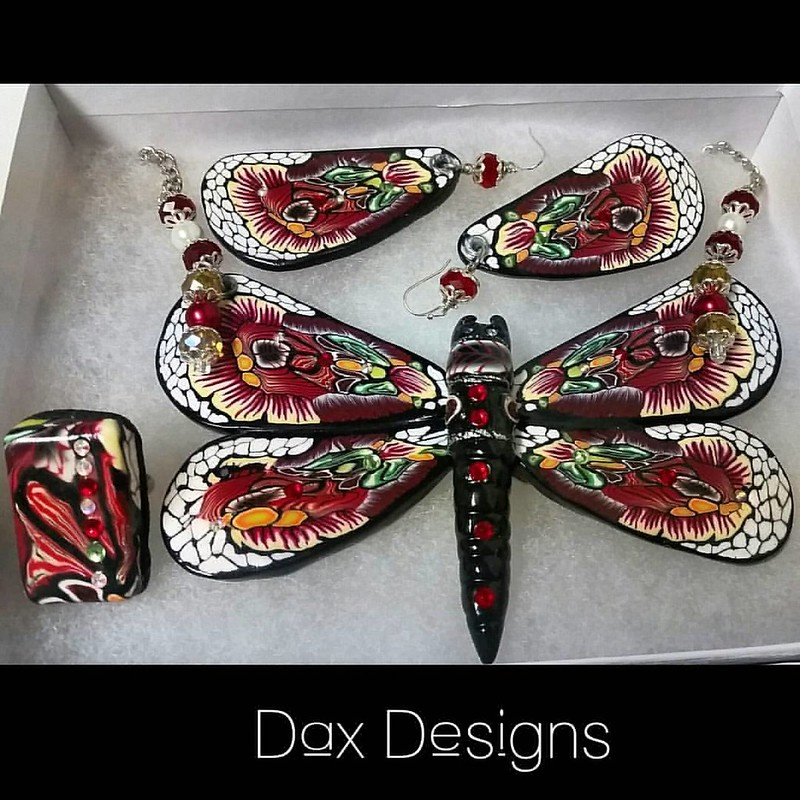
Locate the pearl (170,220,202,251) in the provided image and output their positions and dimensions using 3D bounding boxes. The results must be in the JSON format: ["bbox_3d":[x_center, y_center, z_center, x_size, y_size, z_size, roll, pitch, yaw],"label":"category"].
[{"bbox_3d":[-0.346,-0.278,1.647,0.063,0.053,0.051,-2,91,-10],"label":"pearl"}]

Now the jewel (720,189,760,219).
[{"bbox_3d":[0.574,-0.332,1.653,0.071,0.021,0.049,-4,71,2],"label":"jewel"}]

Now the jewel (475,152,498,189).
[{"bbox_3d":[0.150,-0.391,1.667,0.042,0.057,0.041,-3,79,-26],"label":"jewel"}]

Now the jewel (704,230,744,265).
[{"bbox_3d":[0.529,-0.251,1.606,0.064,0.036,0.053,4,88,12],"label":"jewel"}]

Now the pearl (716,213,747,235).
[{"bbox_3d":[0.555,-0.297,1.640,0.049,0.022,0.037,13,80,13],"label":"pearl"}]

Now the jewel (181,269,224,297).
[{"bbox_3d":[-0.300,-0.181,1.514,0.064,0.034,0.047,9,75,8],"label":"jewel"}]

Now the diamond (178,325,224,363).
[{"bbox_3d":[-0.297,-0.081,1.437,0.073,0.033,0.051,4,76,-5],"label":"diamond"}]

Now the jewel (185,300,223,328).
[{"bbox_3d":[-0.292,-0.129,1.459,0.054,0.049,0.046,-5,86,26],"label":"jewel"}]

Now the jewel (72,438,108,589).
[{"bbox_3d":[-0.424,0.146,1.344,0.041,0.034,0.169,-10,89,-7],"label":"jewel"}]
